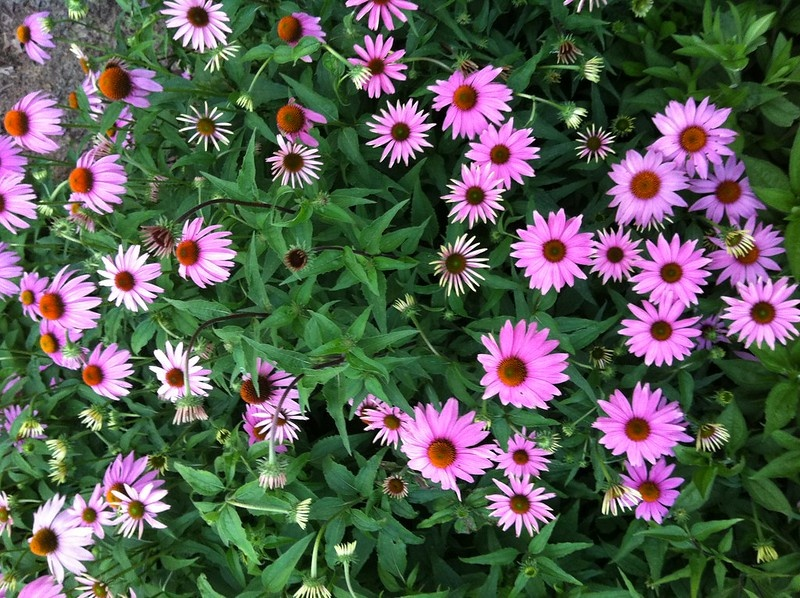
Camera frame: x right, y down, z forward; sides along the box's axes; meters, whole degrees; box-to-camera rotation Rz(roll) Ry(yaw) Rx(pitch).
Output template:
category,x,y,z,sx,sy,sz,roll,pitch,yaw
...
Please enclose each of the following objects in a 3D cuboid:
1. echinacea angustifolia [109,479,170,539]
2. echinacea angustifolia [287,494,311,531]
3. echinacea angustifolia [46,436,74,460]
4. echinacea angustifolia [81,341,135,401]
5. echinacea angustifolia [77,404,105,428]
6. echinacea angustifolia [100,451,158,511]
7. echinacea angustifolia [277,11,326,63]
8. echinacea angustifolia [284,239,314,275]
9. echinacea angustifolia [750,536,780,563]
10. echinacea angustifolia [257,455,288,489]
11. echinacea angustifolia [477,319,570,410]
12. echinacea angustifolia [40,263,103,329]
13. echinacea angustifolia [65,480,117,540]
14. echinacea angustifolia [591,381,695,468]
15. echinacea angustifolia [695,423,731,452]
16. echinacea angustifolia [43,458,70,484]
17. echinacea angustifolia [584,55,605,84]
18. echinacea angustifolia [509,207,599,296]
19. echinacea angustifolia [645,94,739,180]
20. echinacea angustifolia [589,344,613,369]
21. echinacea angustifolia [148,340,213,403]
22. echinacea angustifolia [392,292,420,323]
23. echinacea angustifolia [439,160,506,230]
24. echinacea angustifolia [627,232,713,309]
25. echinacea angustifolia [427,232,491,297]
category,x,y,z,sx,sy,sz,roll,pitch,yaw
echinacea angustifolia,-1.081,0.884,3.235,0.280,0.181,0.208,-5,78,3
echinacea angustifolia,-0.376,0.833,2.992,0.104,0.043,0.112,-32,93,-4
echinacea angustifolia,-1.536,0.677,3.460,0.095,0.102,0.096,0,78,4
echinacea angustifolia,-1.303,0.324,3.453,0.267,0.197,0.238,10,79,5
echinacea angustifolia,-1.368,0.543,3.447,0.097,0.025,0.110,18,68,-6
echinacea angustifolia,-1.171,0.764,3.316,0.216,0.057,0.250,10,66,7
echinacea angustifolia,-0.414,-1.120,3.176,0.184,0.116,0.173,-27,78,-2
echinacea angustifolia,-0.369,-0.153,2.837,0.107,0.056,0.093,-37,79,-4
echinacea angustifolia,1.490,1.024,3.108,0.095,0.124,0.101,8,79,6
echinacea angustifolia,-0.477,0.666,2.917,0.112,0.187,0.133,5,77,-6
echinacea angustifolia,0.477,0.249,2.940,0.345,0.286,0.331,8,79,5
echinacea angustifolia,-1.444,0.014,3.443,0.276,0.170,0.258,18,80,7
echinacea angustifolia,-1.336,0.915,3.333,0.210,0.059,0.236,0,78,-2
echinacea angustifolia,0.938,0.486,2.997,0.345,0.120,0.299,14,80,6
echinacea angustifolia,1.266,0.554,3.086,0.111,0.041,0.122,-33,81,16
echinacea angustifolia,-1.554,0.775,3.487,0.124,0.094,0.093,0,78,4
echinacea angustifolia,0.802,-0.926,3.122,0.058,0.104,0.114,15,104,39
echinacea angustifolia,0.605,-0.162,3.090,0.319,0.489,0.363,5,78,5
echinacea angustifolia,1.187,-0.643,3.090,0.374,0.139,0.449,-9,44,15
echinacea angustifolia,0.832,0.246,3.153,0.096,0.046,0.084,16,80,6
echinacea angustifolia,-0.923,0.334,3.165,0.231,0.050,0.271,18,110,26
echinacea angustifolia,0.030,0.032,3.032,0.037,0.094,0.110,-19,107,-30
echinacea angustifolia,0.303,-0.415,3.060,0.273,0.090,0.307,6,87,0
echinacea angustifolia,1.098,-0.091,3.085,0.357,0.304,0.266,0,78,4
echinacea angustifolia,0.258,-0.109,3.090,0.245,0.406,0.227,-10,77,2
